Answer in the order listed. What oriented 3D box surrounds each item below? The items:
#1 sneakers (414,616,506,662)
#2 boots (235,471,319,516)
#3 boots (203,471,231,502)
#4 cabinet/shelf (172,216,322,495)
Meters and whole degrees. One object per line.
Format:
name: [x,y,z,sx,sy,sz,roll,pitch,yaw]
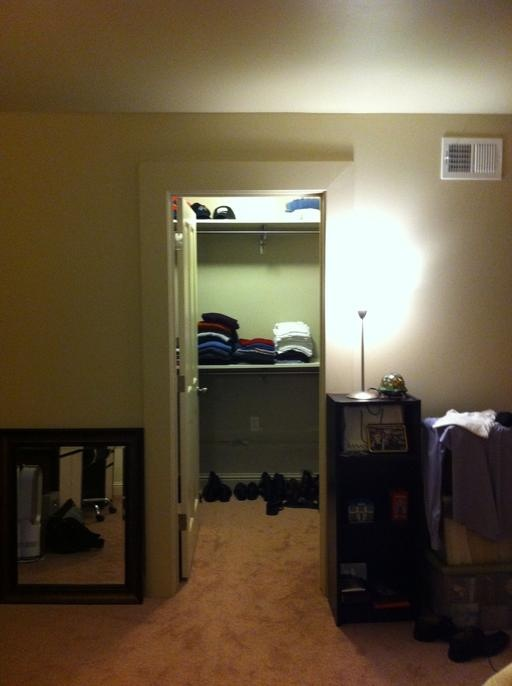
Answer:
sneakers: [0.836,1.190,2.597,0.165,0.071,0.176,0,-3,-26]
boots: [0.160,1.009,4.361,0.372,0.213,0.282,-1,3,-5]
boots: [-0.271,0.984,4.466,0.202,0.162,0.312,0,6,-3]
cabinet/shelf: [0.033,0.111,4.450,0.882,1.859,0.611,-1,5,-7]
